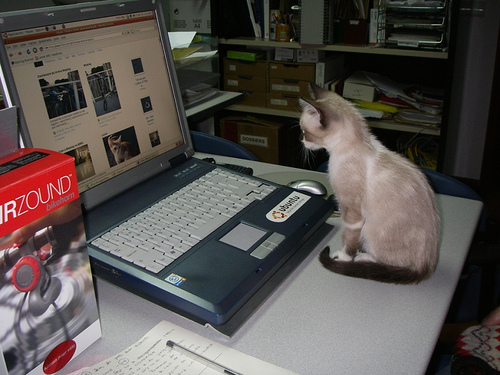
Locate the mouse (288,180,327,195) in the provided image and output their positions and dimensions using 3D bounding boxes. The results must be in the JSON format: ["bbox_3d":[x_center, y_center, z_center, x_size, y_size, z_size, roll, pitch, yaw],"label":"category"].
[{"bbox_3d":[0.148,-0.003,0.940,0.072,0.023,0.042,10,11,13],"label":"mouse"}]

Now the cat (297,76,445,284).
[{"bbox_3d":[0.235,-0.017,0.774,0.345,0.312,0.303,11,31,28],"label":"cat"}]

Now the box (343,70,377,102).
[{"bbox_3d":[0.804,-0.673,2.484,0.323,0.100,0.241,-22,33,-35],"label":"box"}]

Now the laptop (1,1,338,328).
[{"bbox_3d":[-0.150,-0.112,0.735,0.475,0.481,0.454,15,33,33],"label":"laptop"}]

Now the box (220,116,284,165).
[{"bbox_3d":[0.028,-0.305,2.350,0.393,0.359,0.139,14,29,31],"label":"box"}]

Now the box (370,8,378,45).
[{"bbox_3d":[0.741,-0.969,2.223,0.048,0.193,0.089,3,29,16],"label":"box"}]
